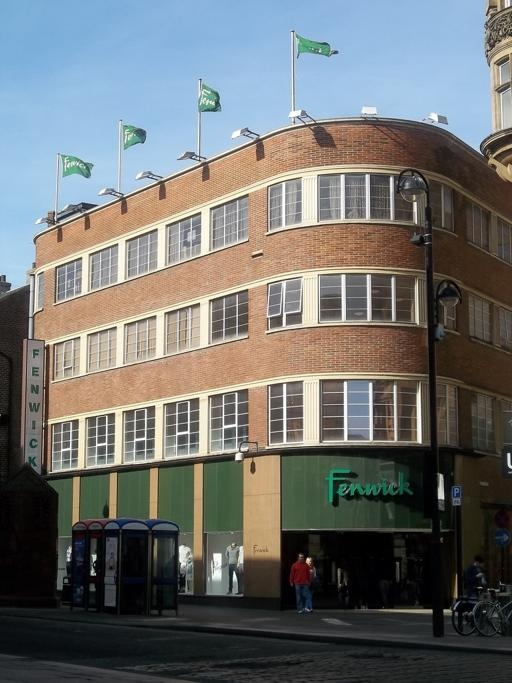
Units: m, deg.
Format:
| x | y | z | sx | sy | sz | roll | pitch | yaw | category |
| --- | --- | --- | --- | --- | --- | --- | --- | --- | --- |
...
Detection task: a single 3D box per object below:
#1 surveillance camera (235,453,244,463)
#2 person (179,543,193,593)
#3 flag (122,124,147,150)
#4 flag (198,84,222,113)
| x | y | z | sx | sy | sz | roll | pitch | yaw | category |
| --- | --- | --- | --- | --- | --- | --- | --- | --- | --- |
| -0.519 | 3.573 | 37.409 | 0.288 | 0.425 | 0.265 | -1 | -12 | 4 | surveillance camera |
| -2.327 | 7.462 | 39.760 | 0.240 | 1.592 | 0.849 | 5 | -16 | -27 | person |
| -4.637 | -7.955 | 46.052 | 0.476 | 1.033 | 1.254 | 5 | -16 | -26 | flag |
| -1.608 | -8.441 | 41.815 | 0.513 | 1.214 | 0.820 | 5 | -16 | -26 | flag |
